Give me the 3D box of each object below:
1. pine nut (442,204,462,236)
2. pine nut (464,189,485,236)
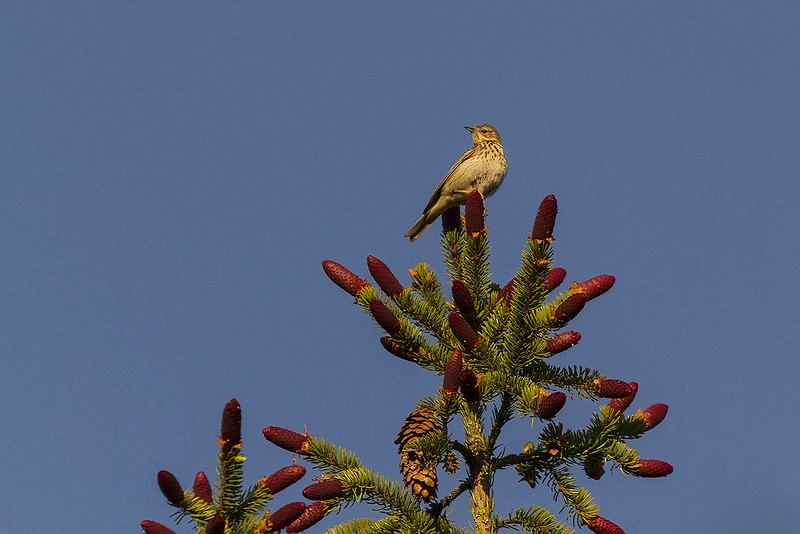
[{"bbox_3d":[0.401,-0.384,12.738,0.161,0.375,0.217,-13,79,2],"label":"pine nut"},{"bbox_3d":[0.567,-0.404,12.375,0.144,0.235,0.329,2,81,4],"label":"pine nut"}]
